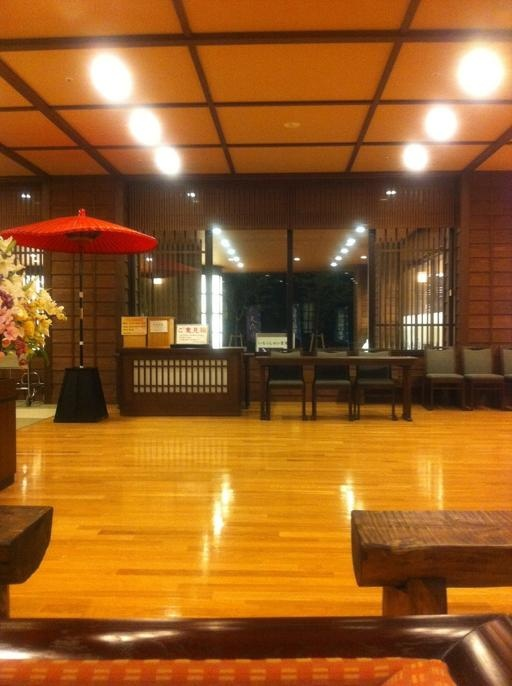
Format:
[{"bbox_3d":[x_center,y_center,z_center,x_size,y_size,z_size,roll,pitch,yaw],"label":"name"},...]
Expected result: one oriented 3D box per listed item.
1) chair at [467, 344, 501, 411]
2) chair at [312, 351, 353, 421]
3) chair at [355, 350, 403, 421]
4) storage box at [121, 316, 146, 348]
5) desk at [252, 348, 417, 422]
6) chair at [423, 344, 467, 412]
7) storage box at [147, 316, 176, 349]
[{"bbox_3d":[2.333,0.370,6.279,0.384,0.624,0.605,0,1,19],"label":"chair"},{"bbox_3d":[0.745,0.406,5.880,0.466,0.822,0.508,0,-22,3],"label":"chair"},{"bbox_3d":[1.207,0.404,5.978,0.493,0.943,0.558,1,-16,2],"label":"chair"},{"bbox_3d":[-1.164,-0.099,5.823,0.240,0.294,0.161,0,1,-6],"label":"storage box"},{"bbox_3d":[0.722,0.391,6.027,1.400,0.586,1.442,0,1,1],"label":"desk"},{"bbox_3d":[1.929,0.328,6.325,0.476,0.820,0.616,0,-8,8],"label":"chair"},{"bbox_3d":[-0.912,-0.100,5.836,0.254,0.295,0.219,0,1,-13],"label":"storage box"}]
